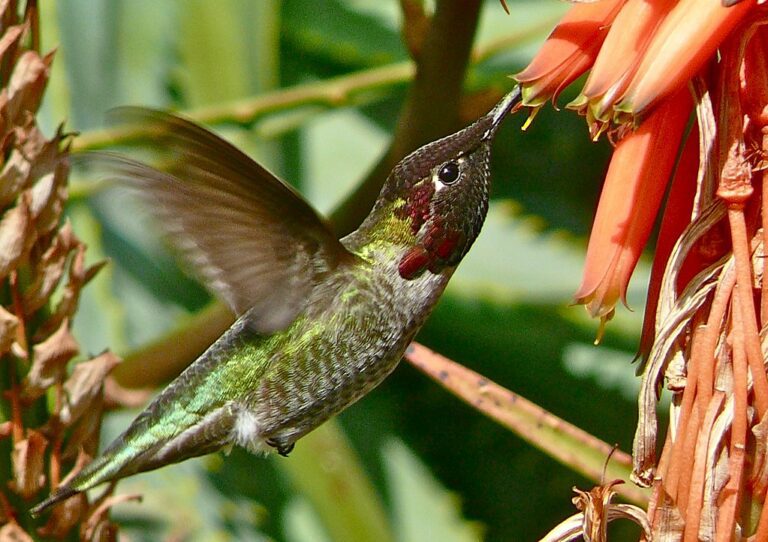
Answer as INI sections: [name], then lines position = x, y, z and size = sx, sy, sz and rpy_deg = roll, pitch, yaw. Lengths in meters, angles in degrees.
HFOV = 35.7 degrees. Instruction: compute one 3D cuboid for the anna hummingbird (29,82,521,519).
[anna hummingbird]
position = -0.115, 0.025, 1.276
size = 0.584, 0.270, 0.352
rpy_deg = -8, 90, -9
